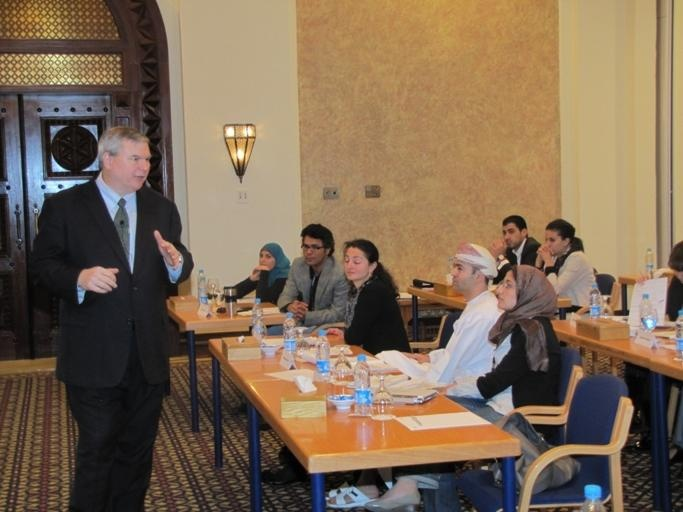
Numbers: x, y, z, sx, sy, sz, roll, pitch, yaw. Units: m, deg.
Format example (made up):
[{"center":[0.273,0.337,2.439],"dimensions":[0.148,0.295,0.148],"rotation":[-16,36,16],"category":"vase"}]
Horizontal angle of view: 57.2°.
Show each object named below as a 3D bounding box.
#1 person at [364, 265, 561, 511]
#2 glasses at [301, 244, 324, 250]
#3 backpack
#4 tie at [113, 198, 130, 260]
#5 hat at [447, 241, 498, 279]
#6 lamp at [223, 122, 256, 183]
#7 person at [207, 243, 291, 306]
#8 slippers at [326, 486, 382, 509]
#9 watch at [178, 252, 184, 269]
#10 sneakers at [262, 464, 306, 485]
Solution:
[{"center":[0.765,0.748,3.423],"dimensions":[1.029,1.320,0.592],"rotation":[-5,7,-27],"category":"person"},{"center":[-0.264,-0.076,5.551],"dimensions":[0.186,0.040,0.062],"rotation":[0,7,18],"category":"glasses"},{"center":[0.893,0.916,2.884],"dimensions":[0.370,0.303,0.394],"rotation":[1,7,22],"category":"backpack"},{"center":[-1.104,-0.128,3.154],"dimensions":[0.055,0.246,0.017],"rotation":[-3,9,-20],"category":"tie"},{"center":[0.859,0.061,4.110],"dimensions":[0.248,0.174,0.202],"rotation":[26,2,7],"category":"hat"},{"center":[-1.264,-1.265,7.658],"dimensions":[0.397,0.648,0.398],"rotation":[-8,-1,38],"category":"lamp"},{"center":[-0.794,0.167,6.589],"dimensions":[0.722,0.636,0.520],"rotation":[2,9,-32],"category":"person"},{"center":[0.050,1.392,3.599],"dimensions":[0.232,0.099,0.141],"rotation":[3,-10,-1],"category":"slippers"},{"center":[-0.815,0.027,3.185],"dimensions":[0.019,0.052,0.037],"rotation":[5,6,16],"category":"watch"},{"center":[-0.388,1.454,4.147],"dimensions":[0.226,0.093,0.145],"rotation":[5,-9,-9],"category":"sneakers"}]
